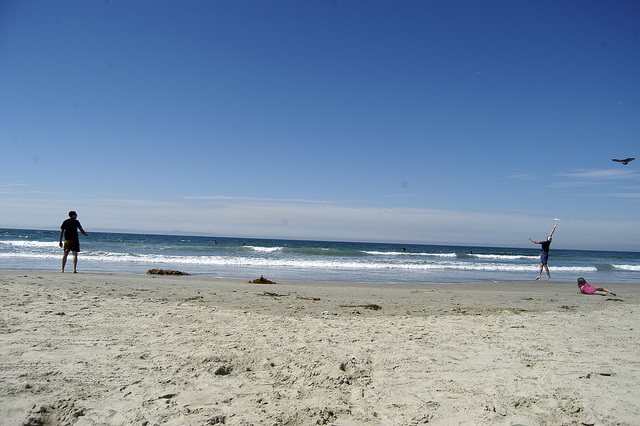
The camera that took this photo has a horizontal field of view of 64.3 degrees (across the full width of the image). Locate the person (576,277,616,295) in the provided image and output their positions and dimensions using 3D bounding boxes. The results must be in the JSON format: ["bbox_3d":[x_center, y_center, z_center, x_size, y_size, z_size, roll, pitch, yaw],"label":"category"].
[{"bbox_3d":[8.239,2.251,15.499,0.500,0.431,1.152,-3,2,-22],"label":"person"}]

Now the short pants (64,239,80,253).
[{"bbox_3d":[-7.249,0.948,14.910,0.546,0.405,0.281,4,6,-17],"label":"short pants"}]
